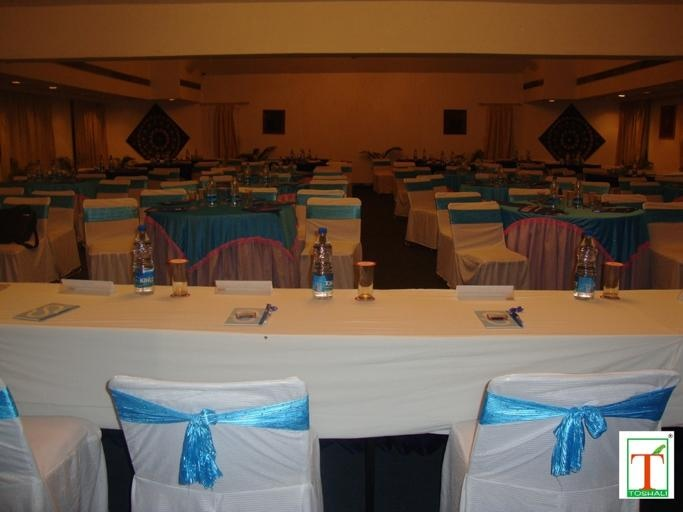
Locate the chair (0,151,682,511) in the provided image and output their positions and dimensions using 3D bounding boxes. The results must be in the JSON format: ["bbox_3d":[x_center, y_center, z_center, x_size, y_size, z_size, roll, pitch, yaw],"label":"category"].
[{"bbox_3d":[-0.055,0.614,2.457,3.007,0.996,0.705,-2,5,5],"label":"chair"}]
